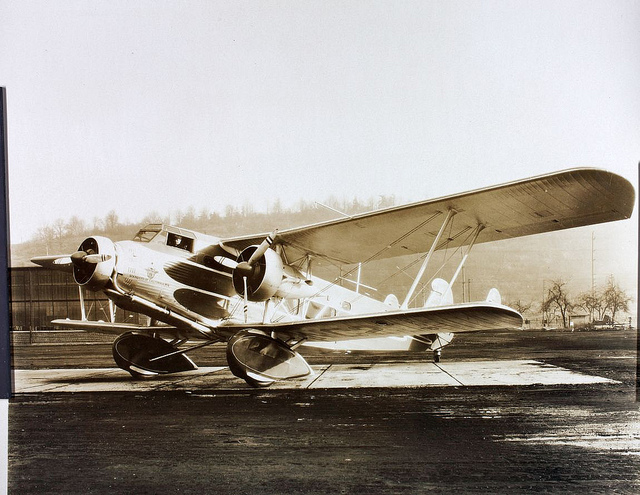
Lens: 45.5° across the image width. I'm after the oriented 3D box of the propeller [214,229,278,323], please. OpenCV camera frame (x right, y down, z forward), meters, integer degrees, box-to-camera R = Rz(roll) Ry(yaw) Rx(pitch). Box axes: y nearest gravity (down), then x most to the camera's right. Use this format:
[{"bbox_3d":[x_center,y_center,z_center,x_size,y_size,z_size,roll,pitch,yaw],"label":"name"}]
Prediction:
[{"bbox_3d":[-1.155,0.454,11.855,0.934,1.391,0.517,-5,-8,45],"label":"propeller"}]
